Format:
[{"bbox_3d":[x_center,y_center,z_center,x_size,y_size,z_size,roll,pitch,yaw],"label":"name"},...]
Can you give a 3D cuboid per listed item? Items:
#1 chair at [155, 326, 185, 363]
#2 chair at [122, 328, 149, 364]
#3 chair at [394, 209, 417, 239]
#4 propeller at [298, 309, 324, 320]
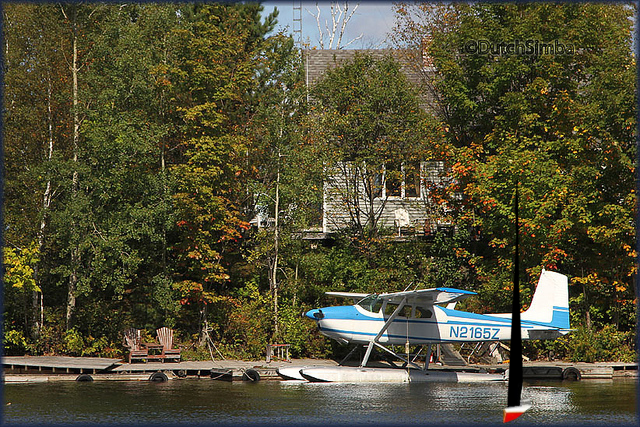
[{"bbox_3d":[-6.066,5.357,63.874,1.149,1.352,2.132,0,0,-6],"label":"chair"},{"bbox_3d":[-7.410,5.422,63.485,0.941,1.112,1.248,-4,16,-24],"label":"chair"},{"bbox_3d":[3.683,0.472,68.830,0.954,1.169,0.871,-8,10,-7],"label":"chair"},{"bbox_3d":[-0.129,4.058,62.372,0.512,0.190,0.856,12,-10,9],"label":"propeller"}]
